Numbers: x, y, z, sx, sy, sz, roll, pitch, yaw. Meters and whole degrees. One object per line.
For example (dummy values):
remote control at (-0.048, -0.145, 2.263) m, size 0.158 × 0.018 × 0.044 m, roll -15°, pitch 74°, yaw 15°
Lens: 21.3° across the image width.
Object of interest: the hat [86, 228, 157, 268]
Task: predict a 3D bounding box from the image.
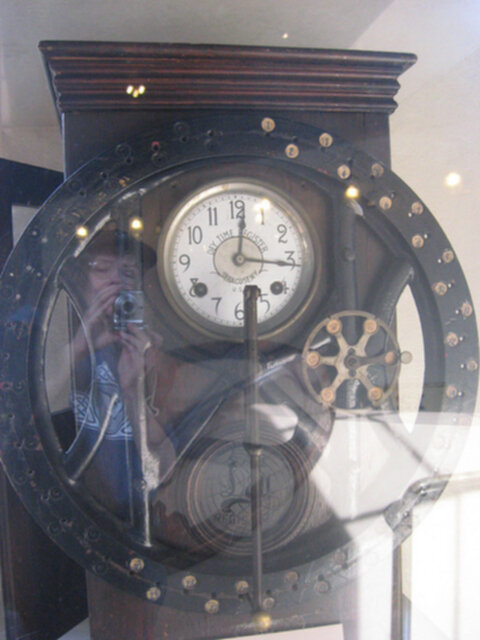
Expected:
hat at (-0.235, -0.141, 2.575) m, size 0.136 × 0.046 × 0.060 m, roll 14°, pitch 60°, yaw -2°
